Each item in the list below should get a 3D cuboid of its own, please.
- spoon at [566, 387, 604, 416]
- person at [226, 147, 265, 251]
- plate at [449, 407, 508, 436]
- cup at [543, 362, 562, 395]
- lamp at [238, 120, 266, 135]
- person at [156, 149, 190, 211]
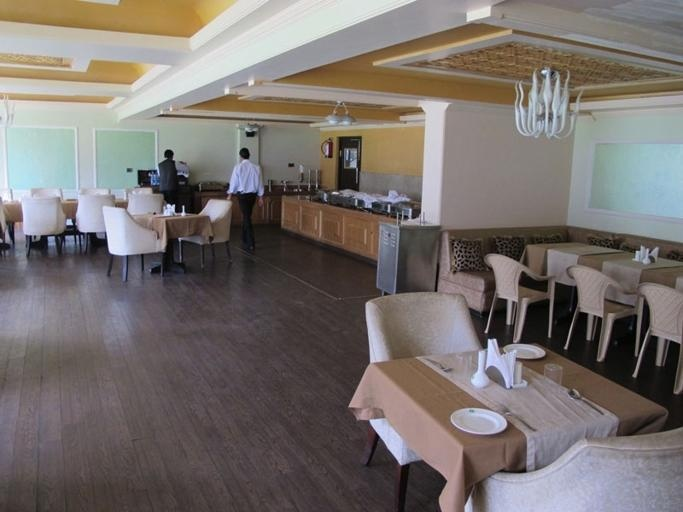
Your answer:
[{"bbox_3d":[1.396,0.826,2.796,0.049,0.031,0.212,-9,19,-10],"label":"spoon"},{"bbox_3d":[-2.045,-1.228,10.440,0.690,2.111,0.941,-2,14,-12],"label":"person"},{"bbox_3d":[0.726,0.874,2.575,0.296,0.048,0.204,4,14,13],"label":"plate"},{"bbox_3d":[1.309,0.731,3.047,0.112,0.121,0.101,0,6,-2],"label":"cup"},{"bbox_3d":[-2.590,-3.591,13.925,0.356,0.271,0.558,3,9,30],"label":"lamp"},{"bbox_3d":[-3.851,-1.511,11.105,0.678,1.760,0.684,0,4,-7],"label":"person"}]
